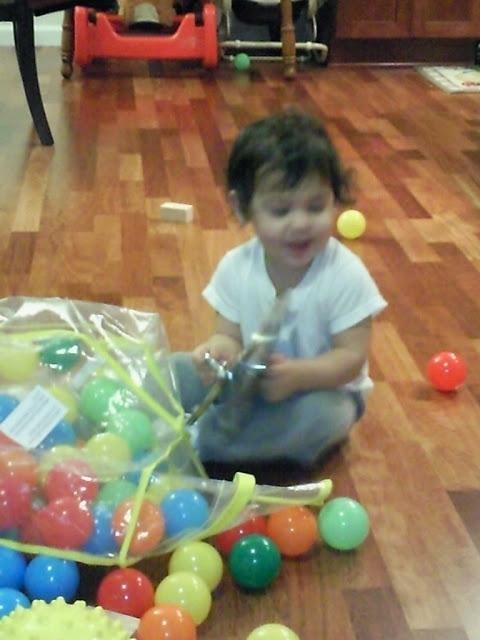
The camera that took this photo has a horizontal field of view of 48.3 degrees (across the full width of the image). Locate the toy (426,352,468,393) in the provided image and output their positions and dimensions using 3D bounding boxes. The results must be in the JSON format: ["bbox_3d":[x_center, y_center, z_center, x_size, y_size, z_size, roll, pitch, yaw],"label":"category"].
[{"bbox_3d":[0.353,0.090,0.912,0.059,0.080,0.067,-1,35,9],"label":"toy"}]

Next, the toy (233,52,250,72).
[{"bbox_3d":[0.004,-1.489,3.089,0.109,0.084,0.263,1,31,0],"label":"toy"}]
